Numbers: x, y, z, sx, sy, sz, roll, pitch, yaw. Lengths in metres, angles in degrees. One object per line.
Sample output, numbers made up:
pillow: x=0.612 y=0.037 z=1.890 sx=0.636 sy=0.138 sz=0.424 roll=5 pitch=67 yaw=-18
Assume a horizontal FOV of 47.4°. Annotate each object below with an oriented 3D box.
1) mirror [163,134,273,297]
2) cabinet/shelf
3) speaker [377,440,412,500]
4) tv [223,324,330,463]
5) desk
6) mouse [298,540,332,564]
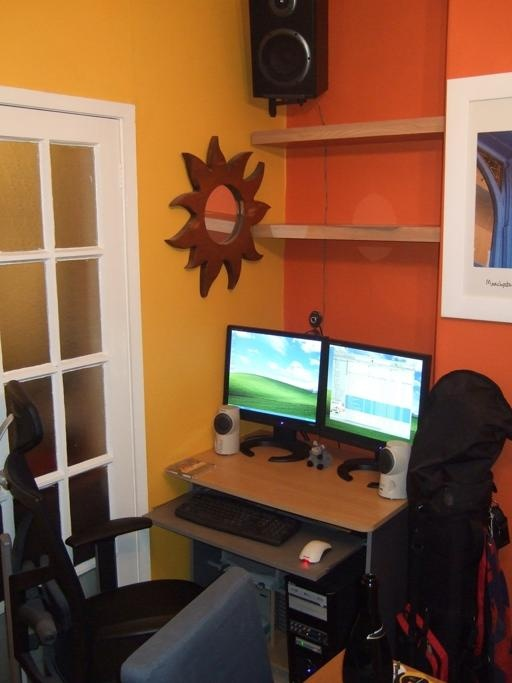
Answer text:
mirror: x=-0.137 y=-0.535 z=2.512 sx=0.029 sy=0.629 sz=0.660 roll=13 pitch=19 yaw=36
cabinet/shelf: x=0.399 y=-0.680 z=2.531 sx=0.917 sy=0.517 sz=0.293 roll=5 pitch=10 yaw=37
speaker: x=0.490 y=0.464 z=2.076 sx=0.109 sy=0.194 sz=0.102 roll=0 pitch=8 yaw=15
tv: x=0.078 y=0.228 z=2.522 sx=0.476 sy=0.586 sz=0.293 roll=6 pitch=7 yaw=23
desk: x=0.109 y=0.584 z=2.166 sx=0.814 sy=0.794 sz=0.751 roll=10 pitch=14 yaw=40
mouse: x=0.186 y=0.678 z=1.891 sx=0.071 sy=0.047 sz=0.140 roll=3 pitch=10 yaw=30
